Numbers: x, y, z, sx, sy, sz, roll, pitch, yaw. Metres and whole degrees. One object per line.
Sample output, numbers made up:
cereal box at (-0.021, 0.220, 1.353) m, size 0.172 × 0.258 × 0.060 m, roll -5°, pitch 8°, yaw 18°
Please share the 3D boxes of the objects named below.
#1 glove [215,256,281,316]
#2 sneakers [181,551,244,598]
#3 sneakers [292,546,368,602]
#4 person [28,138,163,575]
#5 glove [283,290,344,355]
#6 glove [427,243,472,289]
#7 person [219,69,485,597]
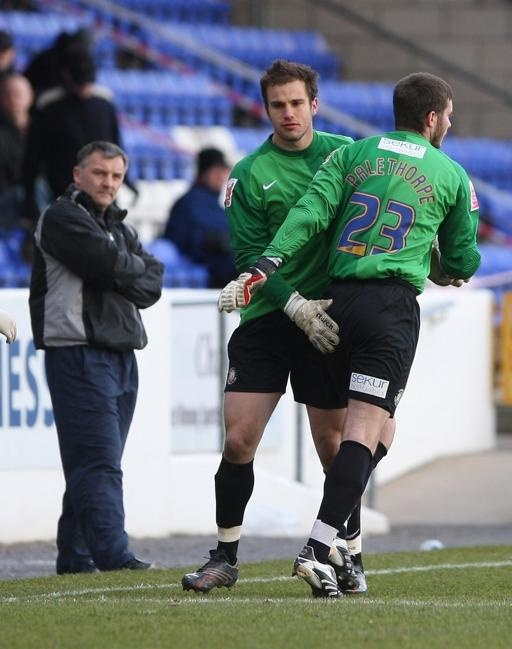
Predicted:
glove at (-0.021, -0.174, 5.836) m, size 0.121 × 0.108 × 0.395 m, roll 2°, pitch 29°, yaw 36°
sneakers at (-0.177, 1.052, 6.080) m, size 0.108 × 0.156 × 0.296 m, roll 4°, pitch -2°, yaw 40°
sneakers at (0.343, 1.023, 5.849) m, size 0.148 × 0.194 × 0.434 m, roll -3°, pitch -15°, yaw 33°
person at (-0.711, 0.133, 6.646) m, size 0.588 × 1.939 × 0.755 m, roll 1°, pitch 14°, yaw -29°
glove at (0.235, -0.021, 5.852) m, size 0.249 × 0.174 × 0.070 m, roll 41°, pitch -9°, yaw 17°
glove at (0.848, -0.269, 6.245) m, size 0.094 × 0.158 × 0.116 m, roll -7°, pitch 44°, yaw 18°
person at (0.414, 0.006, 5.990) m, size 0.572 × 2.146 × 1.021 m, roll 15°, pitch 14°, yaw 31°
